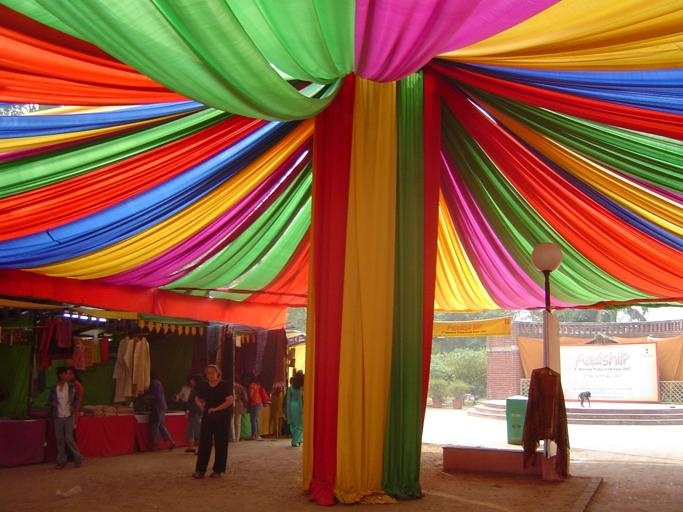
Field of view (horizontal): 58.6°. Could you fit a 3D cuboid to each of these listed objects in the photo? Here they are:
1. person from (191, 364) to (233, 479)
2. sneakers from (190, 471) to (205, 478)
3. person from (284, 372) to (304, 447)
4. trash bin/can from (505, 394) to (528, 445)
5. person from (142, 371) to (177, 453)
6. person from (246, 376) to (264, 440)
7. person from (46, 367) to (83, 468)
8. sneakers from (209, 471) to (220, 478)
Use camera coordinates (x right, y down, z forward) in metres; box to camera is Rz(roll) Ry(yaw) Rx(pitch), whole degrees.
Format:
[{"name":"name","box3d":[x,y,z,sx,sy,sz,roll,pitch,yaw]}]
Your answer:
[{"name":"person","box3d":[-2.062,2.639,9.760,0.585,1.766,0.605,1,-5,-13]},{"name":"sneakers","box3d":[-2.273,3.443,9.591,0.170,0.071,0.080,8,-15,-11]},{"name":"person","box3d":[-1.079,3.458,13.811,0.357,1.667,0.767,0,-5,-7]},{"name":"trash bin/can","box3d":[3.756,3.580,13.067,0.400,1.118,0.930,-2,-5,16]},{"name":"person","box3d":[-4.028,3.379,13.369,0.581,1.603,1.305,1,-5,-18]},{"name":"person","box3d":[-2.165,3.786,15.176,0.398,1.515,0.579,0,-5,-7]},{"name":"person","box3d":[-5.035,2.909,11.076,0.559,1.752,0.402,2,-6,-27]},{"name":"sneakers","box3d":[-2.003,3.441,9.557,0.072,0.088,0.131,2,-23,1]}]
